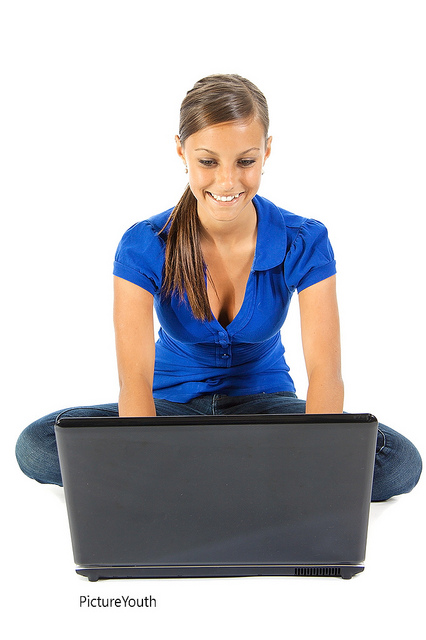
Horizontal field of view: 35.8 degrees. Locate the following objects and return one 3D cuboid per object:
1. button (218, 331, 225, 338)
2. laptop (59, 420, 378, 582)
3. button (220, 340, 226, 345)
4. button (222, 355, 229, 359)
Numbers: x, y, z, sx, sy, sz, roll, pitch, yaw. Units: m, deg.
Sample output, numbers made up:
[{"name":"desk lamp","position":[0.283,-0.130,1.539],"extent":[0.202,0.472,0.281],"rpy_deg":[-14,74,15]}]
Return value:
[{"name":"button","position":[0.031,0.041,1.954],"extent":[0.018,0.020,0.013],"rpy_deg":[-1,17,-1]},{"name":"laptop","position":[-0.004,0.296,1.434],"extent":[0.606,0.344,0.412],"rpy_deg":[0,17,-11]},{"name":"button","position":[0.033,0.064,1.979],"extent":[0.017,0.014,0.008],"rpy_deg":[-2,17,-3]},{"name":"button","position":[0.041,0.112,2.022],"extent":[0.012,0.011,0.003],"rpy_deg":[-1,-9,-3]}]
